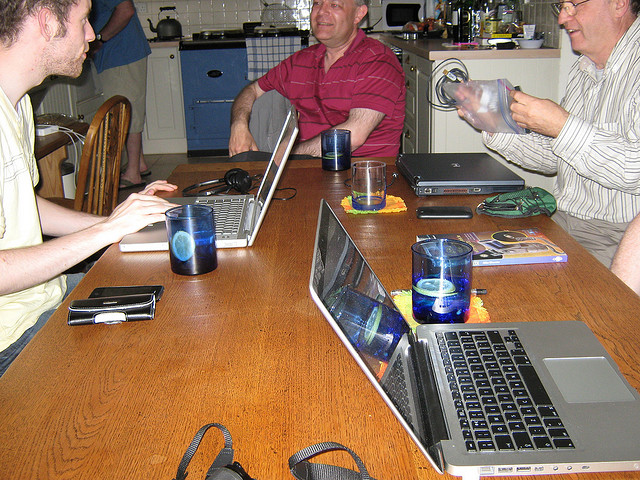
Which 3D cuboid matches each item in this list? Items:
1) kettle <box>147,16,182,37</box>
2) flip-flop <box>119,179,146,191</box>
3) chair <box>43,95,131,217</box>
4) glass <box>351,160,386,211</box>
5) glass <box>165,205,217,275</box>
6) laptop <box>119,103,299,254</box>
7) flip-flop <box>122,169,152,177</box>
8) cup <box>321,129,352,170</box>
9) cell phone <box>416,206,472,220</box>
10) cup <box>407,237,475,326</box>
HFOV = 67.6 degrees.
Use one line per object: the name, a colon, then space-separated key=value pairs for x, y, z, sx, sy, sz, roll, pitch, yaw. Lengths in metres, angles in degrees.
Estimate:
kettle: x=-1.715 y=-2.373 z=5.298 sx=0.297 sy=0.187 sz=0.181 roll=-4 pitch=25 yaw=-15
flip-flop: x=-1.706 y=-0.509 z=4.357 sx=0.221 sy=0.064 sz=0.082 roll=-3 pitch=12 yaw=-29
chair: x=-1.034 y=-0.288 z=2.138 sx=0.286 sy=0.626 sz=0.323 roll=5 pitch=24 yaw=-3
glass: x=0.141 y=-0.157 z=1.434 sx=0.134 sy=0.147 sz=0.108 roll=-1 pitch=12 yaw=3
glass: x=-0.291 y=-0.001 z=1.154 sx=0.092 sy=0.146 sz=0.145 roll=1 pitch=13 yaw=6
laptop: x=-0.283 y=-0.121 z=1.372 sx=0.427 sy=0.300 sz=0.466 roll=4 pitch=18 yaw=1
flip-flop: x=-1.790 y=-0.653 z=4.700 sx=0.266 sy=0.103 sz=0.101 roll=1 pitch=22 yaw=-9
cup: x=0.062 y=-0.350 z=1.820 sx=0.132 sy=0.155 sz=0.132 roll=-1 pitch=14 yaw=0
cell phone: x=0.354 y=-0.078 z=1.360 sx=0.100 sy=0.015 sz=0.061 roll=0 pitch=16 yaw=2
cup: x=0.226 y=0.086 z=0.968 sx=0.145 sy=0.170 sz=0.141 roll=-4 pitch=10 yaw=1
